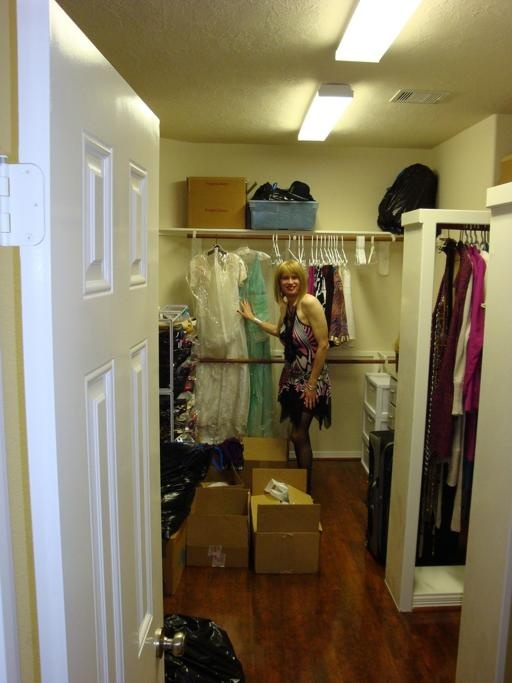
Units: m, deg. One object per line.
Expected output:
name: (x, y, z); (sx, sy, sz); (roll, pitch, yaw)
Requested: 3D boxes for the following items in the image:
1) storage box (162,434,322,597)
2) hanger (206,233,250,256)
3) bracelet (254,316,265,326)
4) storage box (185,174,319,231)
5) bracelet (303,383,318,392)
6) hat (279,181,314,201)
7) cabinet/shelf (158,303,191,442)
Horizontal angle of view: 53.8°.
storage box: (-0.128, 0.885, 2.960); (0.855, 0.588, 1.058); (-1, 7, -9)
hanger: (-0.236, -0.774, 3.950); (0.380, 0.174, 0.300); (0, 7, -2)
bracelet: (0.019, -0.156, 3.732); (0.112, 0.026, 0.024); (37, 0, 35)
storage box: (-0.044, -1.024, 3.727); (0.949, 0.391, 0.337); (-1, 6, -8)
bracelet: (0.351, 0.299, 3.303); (0.075, 0.046, 0.031); (0, 6, 4)
hat: (0.300, -1.109, 3.728); (0.214, 0.165, 0.192); (0, 6, 1)
cabinet/shelf: (-0.506, 0.225, 3.075); (0.178, 0.713, 0.626); (0, 19, -2)
